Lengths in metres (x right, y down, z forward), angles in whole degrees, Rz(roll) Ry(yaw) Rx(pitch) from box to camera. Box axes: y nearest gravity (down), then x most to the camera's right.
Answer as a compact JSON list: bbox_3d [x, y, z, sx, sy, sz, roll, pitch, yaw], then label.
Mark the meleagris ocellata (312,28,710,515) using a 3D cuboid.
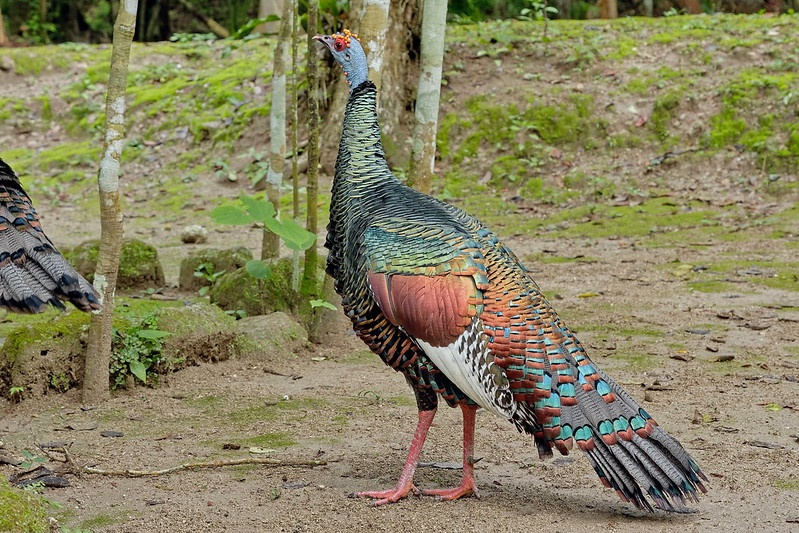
[{"bbox_3d":[1.067,0.424,13.838,4.107,4.841,1.505,1,13,13],"label":"meleagris ocellata"}]
